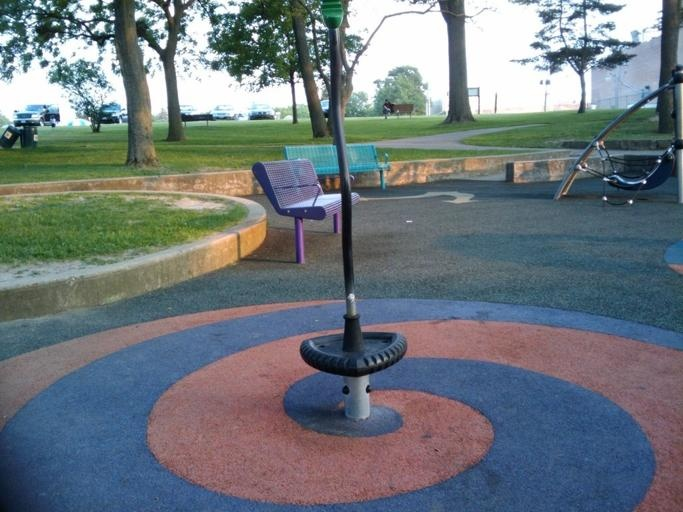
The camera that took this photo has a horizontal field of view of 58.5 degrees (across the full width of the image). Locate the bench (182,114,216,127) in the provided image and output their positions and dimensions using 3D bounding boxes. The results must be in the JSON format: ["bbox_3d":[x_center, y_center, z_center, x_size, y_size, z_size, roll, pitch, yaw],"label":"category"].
[{"bbox_3d":[-16.681,-16.175,70.780,2.973,1.232,12.708,-5,15,-10],"label":"bench"}]
